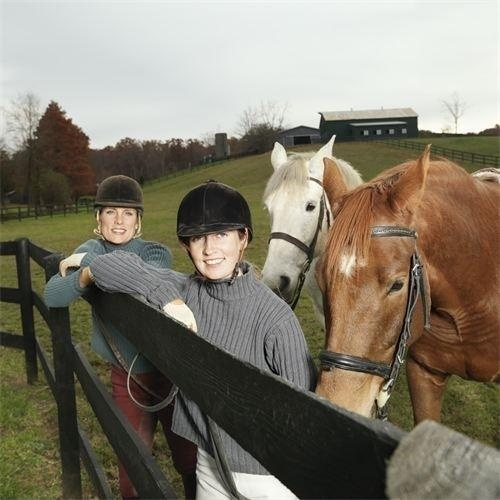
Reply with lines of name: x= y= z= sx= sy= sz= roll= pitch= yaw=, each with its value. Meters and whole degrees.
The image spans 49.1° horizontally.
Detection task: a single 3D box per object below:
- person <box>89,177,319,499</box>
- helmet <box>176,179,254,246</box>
person: x=-0.173 y=0.401 z=2.131 sx=0.624 sy=1.291 sz=0.787 roll=-8 pitch=12 yaw=-36
helmet: x=-0.153 y=-0.138 z=2.180 sx=0.199 sy=0.188 sz=0.282 roll=-1 pitch=-2 yaw=12
